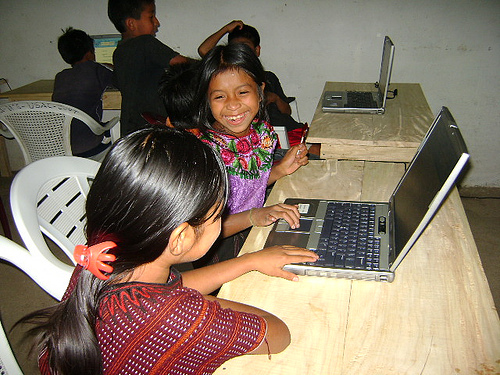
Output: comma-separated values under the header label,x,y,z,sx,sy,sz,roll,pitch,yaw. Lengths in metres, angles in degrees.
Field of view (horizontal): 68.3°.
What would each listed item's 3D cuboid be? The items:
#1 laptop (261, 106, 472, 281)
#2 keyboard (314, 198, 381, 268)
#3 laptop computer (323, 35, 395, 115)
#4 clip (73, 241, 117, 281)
label,x,y,z,sx,sy,sz,roll,pitch,yaw
laptop,0.333,-0.017,1.143,0.566,0.390,0.553,0,20,9
keyboard,0.313,0.143,1.142,0.138,0.014,0.295,3,32,17
laptop computer,0.666,-0.629,2.196,0.414,0.479,0.577,7,28,9
clip,-0.335,0.160,0.808,0.101,0.091,0.050,0,27,8
